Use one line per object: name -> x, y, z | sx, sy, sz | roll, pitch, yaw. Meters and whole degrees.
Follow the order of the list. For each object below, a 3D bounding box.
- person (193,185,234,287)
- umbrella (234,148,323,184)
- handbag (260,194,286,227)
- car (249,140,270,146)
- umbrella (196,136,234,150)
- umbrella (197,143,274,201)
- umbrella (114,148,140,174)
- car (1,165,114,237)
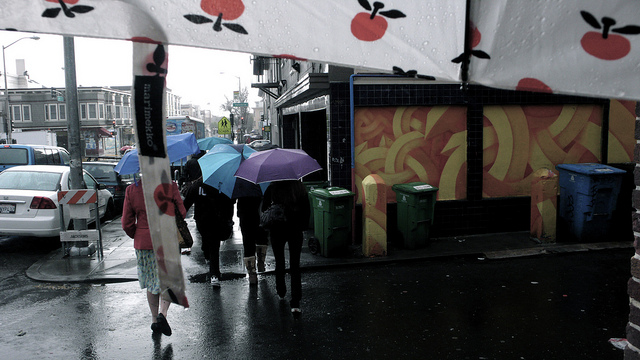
person -> -2.145, 1.113, 10.007 | 0.772, 2.004, 0.871 | -4, 12, -12
umbrella -> -0.839, -0.236, 9.235 | 1.031, 0.342, 1.025 | -4, 4, 13
handbag -> -0.820, 0.561, 8.667 | 0.468, 0.594, 0.320 | 13, 1, 25
car -> -5.527, -3.366, 44.713 | 1.620, 0.647, 2.437 | -2, 12, -10
umbrella -> -2.728, -0.985, 12.765 | 0.586, 0.190, 0.586 | 3, 10, 16
umbrella -> -1.953, -0.113, 9.881 | 1.244, 0.509, 1.219 | 19, 43, -19
umbrella -> -4.036, -0.346, 10.192 | 0.440, 0.519, 0.542 | -6, 13, -18
car -> -7.264, 0.443, 13.629 | 1.818, 1.433, 3.207 | -1, 8, 2
